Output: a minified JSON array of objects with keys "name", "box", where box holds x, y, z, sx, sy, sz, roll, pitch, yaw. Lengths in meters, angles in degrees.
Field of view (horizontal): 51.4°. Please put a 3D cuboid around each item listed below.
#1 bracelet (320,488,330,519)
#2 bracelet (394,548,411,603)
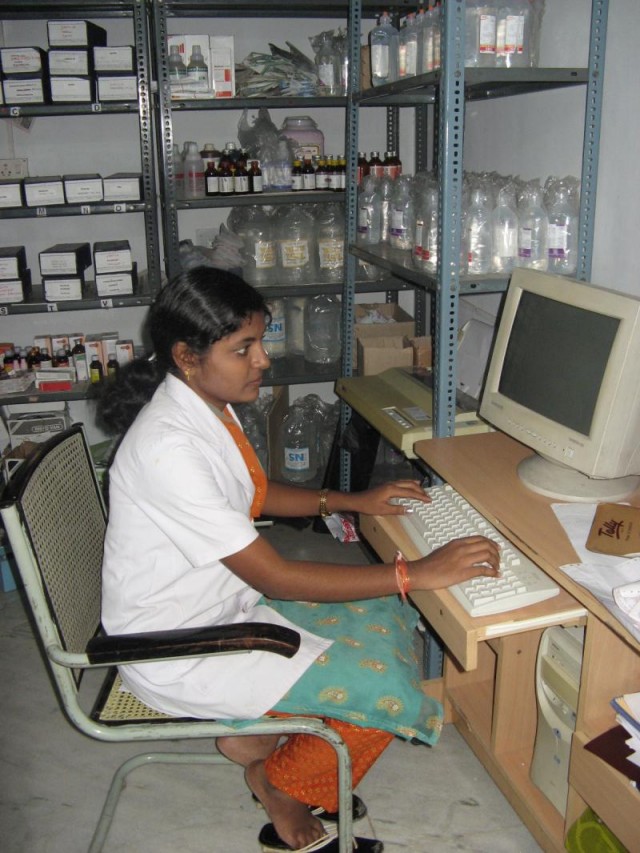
[{"name":"bracelet","box":[0.009,0.186,1.524,0.030,0.046,0.046,2,22,-3]},{"name":"bracelet","box":[0.134,0.245,1.077,0.017,0.068,0.050,-2,-15,6]}]
